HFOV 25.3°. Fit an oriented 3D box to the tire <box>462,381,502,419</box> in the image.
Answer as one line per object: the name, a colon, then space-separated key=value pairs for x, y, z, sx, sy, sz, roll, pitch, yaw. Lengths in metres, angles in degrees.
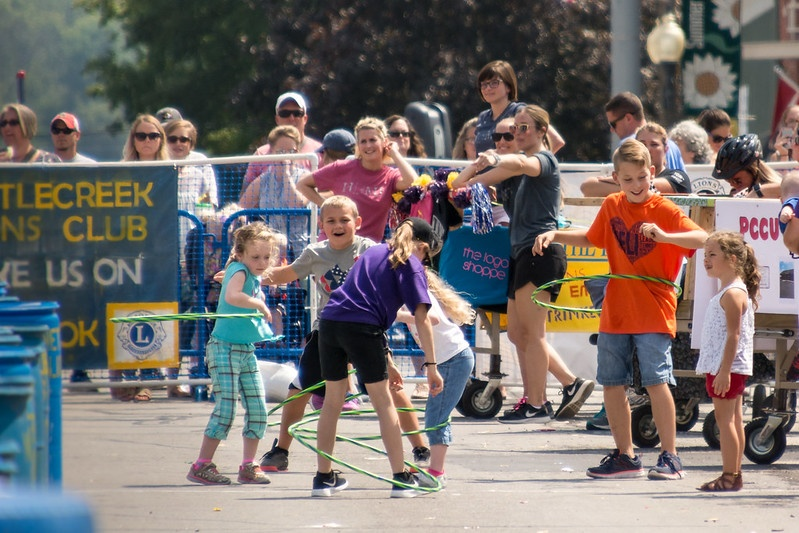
tire: x=1.006 y=1.617 z=21.634 sx=0.491 sy=0.485 sz=0.188 roll=17 pitch=15 yaw=6

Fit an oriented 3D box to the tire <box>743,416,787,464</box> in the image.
tire: x=4.105 y=1.955 z=20.046 sx=0.491 sy=0.522 sz=0.182 roll=6 pitch=-8 yaw=12

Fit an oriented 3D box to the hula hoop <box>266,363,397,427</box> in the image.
hula hoop: x=-0.539 y=1.447 z=20.470 sx=1.397 sy=0.688 sz=2.500 roll=-2 pitch=-1 yaw=8

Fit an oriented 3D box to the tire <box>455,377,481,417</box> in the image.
tire: x=0.827 y=1.583 z=21.548 sx=0.430 sy=0.564 sz=0.331 roll=2 pitch=0 yaw=0

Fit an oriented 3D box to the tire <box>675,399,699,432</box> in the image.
tire: x=3.362 y=1.733 z=20.983 sx=0.325 sy=0.320 sz=0.135 roll=-24 pitch=5 yaw=-18
